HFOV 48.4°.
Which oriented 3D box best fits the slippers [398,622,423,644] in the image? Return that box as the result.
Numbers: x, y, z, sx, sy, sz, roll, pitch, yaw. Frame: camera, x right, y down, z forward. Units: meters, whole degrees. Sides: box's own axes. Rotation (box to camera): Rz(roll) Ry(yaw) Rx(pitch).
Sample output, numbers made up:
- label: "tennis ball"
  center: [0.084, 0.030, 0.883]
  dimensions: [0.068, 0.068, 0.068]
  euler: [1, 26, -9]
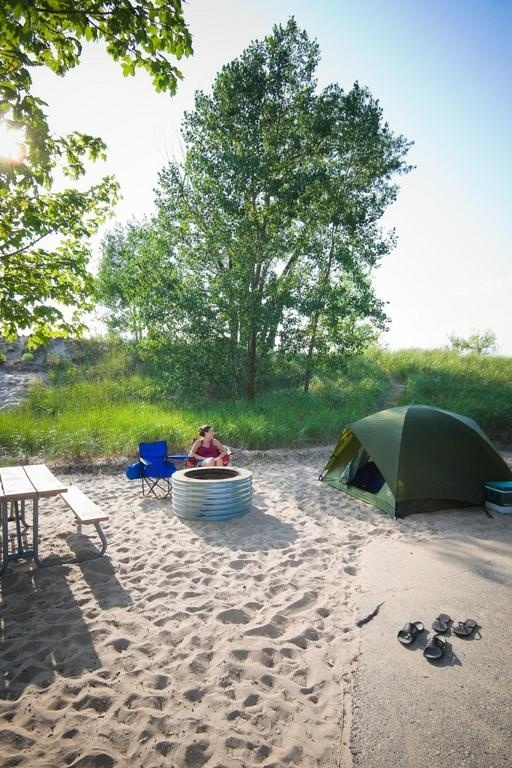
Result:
- label: "slippers"
  center: [1.146, 1.858, 4.261]
  dimensions: [0.142, 0.070, 0.283]
  euler: [5, 7, 37]

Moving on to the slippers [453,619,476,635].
- label: "slippers"
  center: [1.578, 1.836, 4.290]
  dimensions: [0.184, 0.053, 0.230]
  euler: [3, 6, 23]

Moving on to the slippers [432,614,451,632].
- label: "slippers"
  center: [1.424, 1.821, 4.359]
  dimensions: [0.064, 0.051, 0.195]
  euler: [-3, -2, 15]

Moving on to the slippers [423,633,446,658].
- label: "slippers"
  center: [1.274, 1.876, 4.047]
  dimensions: [0.144, 0.075, 0.241]
  euler: [4, 6, 26]

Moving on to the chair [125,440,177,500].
- label: "chair"
  center: [-1.396, 1.269, 8.234]
  dimensions: [0.811, 0.862, 0.667]
  euler: [-3, 2, -34]

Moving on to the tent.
- label: "tent"
  center: [2.358, 1.026, 8.027]
  dimensions: [1.722, 1.141, 1.743]
  euler: [-1, 0, -24]
